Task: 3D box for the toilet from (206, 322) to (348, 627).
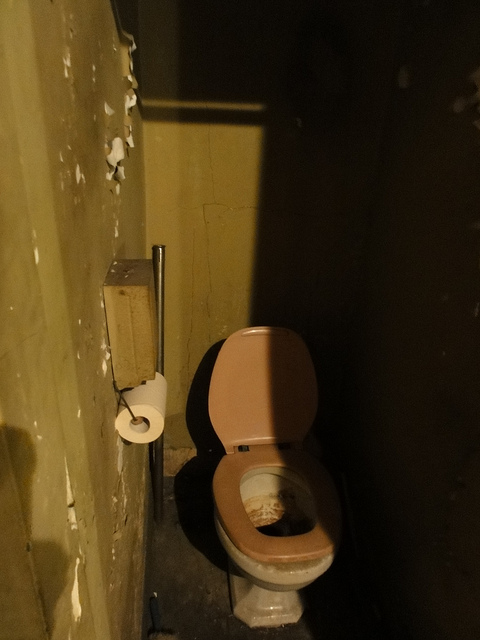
[{"bbox_3d":[0.100,0.426,1.513,0.261,0.838,0.575,-2,42,-3],"label":"toilet"}]
